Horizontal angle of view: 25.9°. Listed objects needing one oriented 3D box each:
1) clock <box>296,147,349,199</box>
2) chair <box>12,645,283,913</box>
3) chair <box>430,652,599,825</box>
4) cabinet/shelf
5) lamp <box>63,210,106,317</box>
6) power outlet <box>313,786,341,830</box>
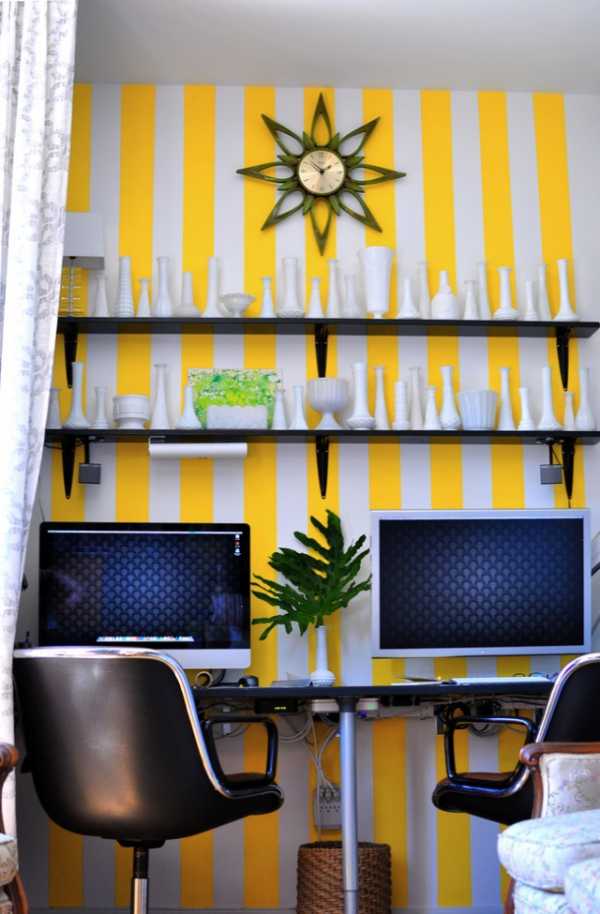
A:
[{"bbox_3d":[0.074,-0.943,4.337,0.125,0.178,0.018,0,-11,0],"label":"clock"},{"bbox_3d":[-0.327,0.731,3.028,0.393,0.712,0.506,-3,-10,25],"label":"chair"},{"bbox_3d":[0.593,0.656,3.201,0.392,0.565,0.353,-7,-16,42],"label":"chair"},{"bbox_3d":[0.091,-0.155,4.146,1.773,0.610,0.277,1,-1,-5],"label":"cabinet/shelf"},{"bbox_3d":[-0.683,-0.605,4.119,0.133,0.314,0.236,1,-1,-11],"label":"lamp"},{"bbox_3d":[0.086,1.072,3.959,0.095,0.194,0.097,0,-3,4],"label":"power outlet"}]
